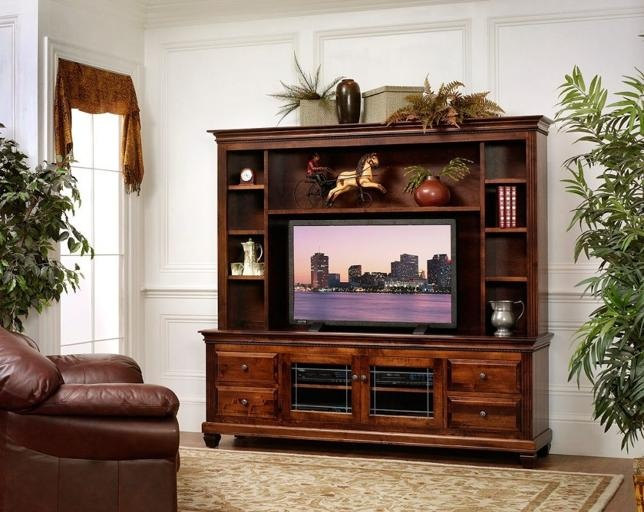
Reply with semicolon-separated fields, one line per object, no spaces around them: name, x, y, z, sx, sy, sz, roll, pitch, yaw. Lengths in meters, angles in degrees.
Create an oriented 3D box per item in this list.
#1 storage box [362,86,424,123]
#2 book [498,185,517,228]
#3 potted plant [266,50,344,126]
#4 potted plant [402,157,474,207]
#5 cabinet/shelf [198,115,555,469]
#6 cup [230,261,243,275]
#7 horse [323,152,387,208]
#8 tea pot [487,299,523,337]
storage box;0.601;-1.224;5.111;0.389;0.245;0.374;-8;12;-29
book;1.390;-0.364;4.747;0.176;0.280;0.308;0;3;6
potted plant;-0.140;-1.456;5.545;0.699;0.547;0.683;1;6;4
potted plant;0.855;-0.594;5.051;0.518;0.361;0.441;-8;-4;-3
cabinet/shelf;0.522;0.324;4.969;2.857;2.532;0.808;0;-2;18
cup;-0.711;0.114;5.335;0.109;0.101;0.090;1;2;25
horse;0.238;-0.614;5.253;0.620;0.374;0.119;-7;0;38
tea pot;1.376;0.464;4.822;0.342;0.326;0.199;1;-1;1
